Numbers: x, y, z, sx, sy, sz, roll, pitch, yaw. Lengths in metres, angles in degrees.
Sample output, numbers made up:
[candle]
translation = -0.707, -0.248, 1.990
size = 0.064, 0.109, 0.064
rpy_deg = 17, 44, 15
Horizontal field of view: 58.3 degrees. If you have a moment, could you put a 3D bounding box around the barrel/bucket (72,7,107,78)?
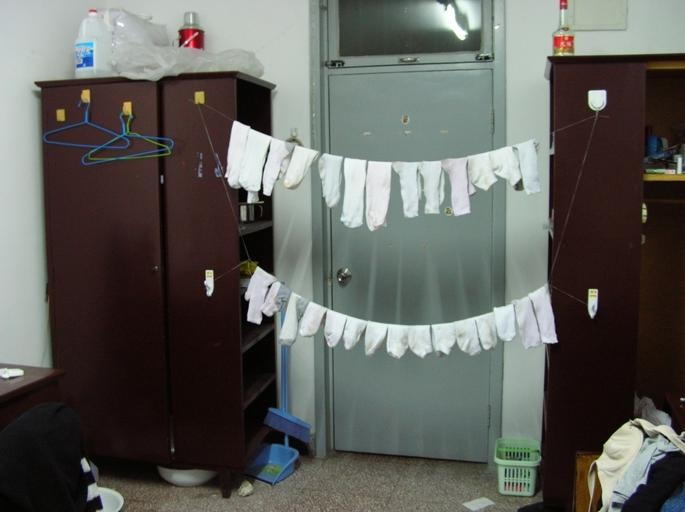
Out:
[barrel/bucket]
translation = -1.370, -1.145, 3.363
size = 0.123, 0.386, 0.162
rpy_deg = 3, 14, 5

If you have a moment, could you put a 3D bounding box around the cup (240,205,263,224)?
[cup]
translation = -0.533, -0.256, 3.583
size = 0.114, 0.116, 0.072
rpy_deg = -1, 5, -13

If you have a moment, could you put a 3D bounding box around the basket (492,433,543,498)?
[basket]
translation = 0.968, 1.168, 3.464
size = 0.270, 0.271, 0.308
rpy_deg = 1, 3, 14

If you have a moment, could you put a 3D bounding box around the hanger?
[hanger]
translation = -1.256, -0.649, 3.285
size = 0.730, 0.340, 0.099
rpy_deg = 4, 12, 15

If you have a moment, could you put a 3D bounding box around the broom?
[broom]
translation = -0.264, 0.643, 3.450
size = 0.293, 0.981, 0.233
rpy_deg = 15, 42, 7
